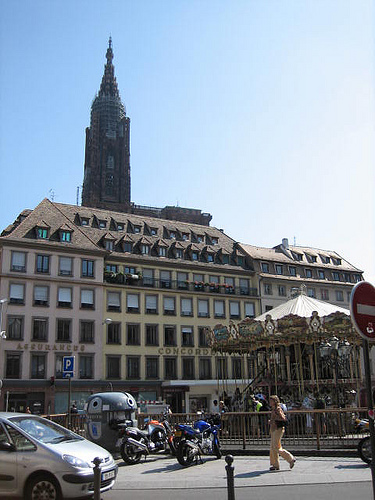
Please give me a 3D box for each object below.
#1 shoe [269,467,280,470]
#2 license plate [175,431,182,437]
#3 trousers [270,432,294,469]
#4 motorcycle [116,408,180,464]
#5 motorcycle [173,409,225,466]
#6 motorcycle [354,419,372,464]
[{"bbox_3d":[1.898,4.719,11.023,0.226,0.066,0.133,-1,-21,-8],"label":"shoe"},{"bbox_3d":[-0.229,4.629,12.857,0.176,0.162,0.092,-1,-11,-1],"label":"license plate"},{"bbox_3d":[2.036,4.381,11.173,0.484,0.764,0.990,-7,-21,6],"label":"trousers"},{"bbox_3d":[-0.995,5.274,14.431,2.375,1.219,0.999,10,-24,-44],"label":"motorcycle"},{"bbox_3d":[0.362,4.843,13.186,0.704,1.259,2.143,-11,-17,30],"label":"motorcycle"},{"bbox_3d":[3.946,4.264,11.388,0.338,0.922,1.125,-10,-21,15],"label":"motorcycle"}]
